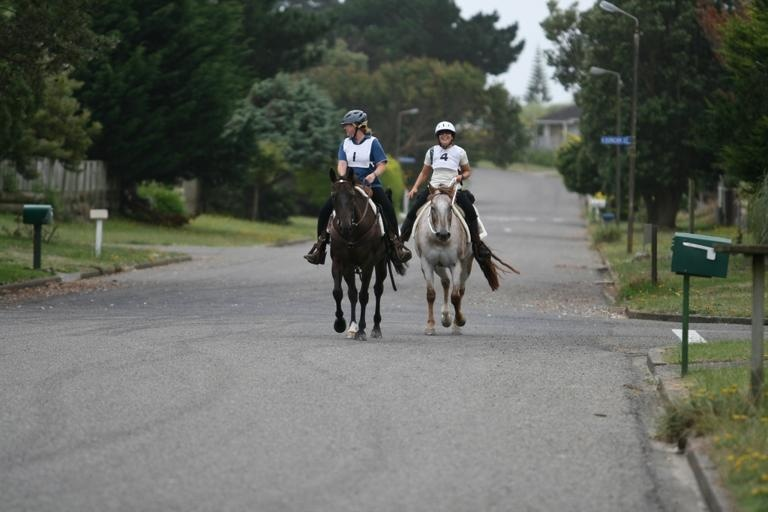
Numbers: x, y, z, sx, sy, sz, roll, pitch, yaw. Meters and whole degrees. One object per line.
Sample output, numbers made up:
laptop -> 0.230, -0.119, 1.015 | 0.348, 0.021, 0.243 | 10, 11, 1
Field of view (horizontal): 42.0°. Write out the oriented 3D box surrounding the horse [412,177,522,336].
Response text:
horse -> 1.189, 0.043, 20.323 | 1.057, 2.985, 1.684 | 1, 4, 7

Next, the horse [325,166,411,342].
horse -> -0.452, -0.088, 19.388 | 0.935, 3.222, 1.814 | 2, 4, 26
